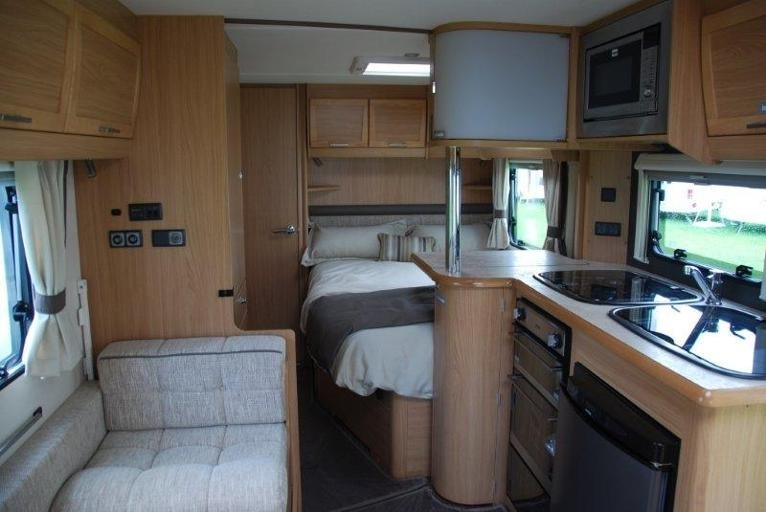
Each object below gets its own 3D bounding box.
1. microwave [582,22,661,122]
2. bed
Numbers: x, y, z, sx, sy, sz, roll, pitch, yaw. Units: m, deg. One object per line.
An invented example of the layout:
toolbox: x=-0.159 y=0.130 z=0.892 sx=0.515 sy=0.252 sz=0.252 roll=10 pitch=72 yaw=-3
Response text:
microwave: x=1.205 y=-0.913 z=2.772 sx=0.351 sy=0.429 sz=0.612 roll=-2 pitch=11 yaw=-9
bed: x=-0.060 y=0.570 z=4.232 sx=1.342 sy=0.981 sz=1.847 roll=-1 pitch=12 yaw=-9
